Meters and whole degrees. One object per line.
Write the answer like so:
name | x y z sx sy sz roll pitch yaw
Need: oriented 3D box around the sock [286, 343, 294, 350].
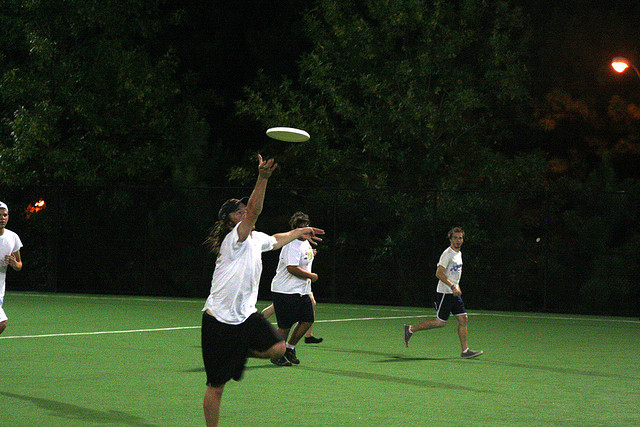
sock | -0.559 2.474 12.489 0.144 0.108 0.203 3 -8 -4

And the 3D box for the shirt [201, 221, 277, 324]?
shirt | -0.972 0.657 8.304 0.623 1.223 1.285 13 6 22

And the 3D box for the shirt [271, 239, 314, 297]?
shirt | -0.522 0.969 12.666 0.778 1.081 1.129 6 8 7

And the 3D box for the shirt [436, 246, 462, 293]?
shirt | 2.524 1.108 13.160 0.443 0.891 0.460 2 -7 3
